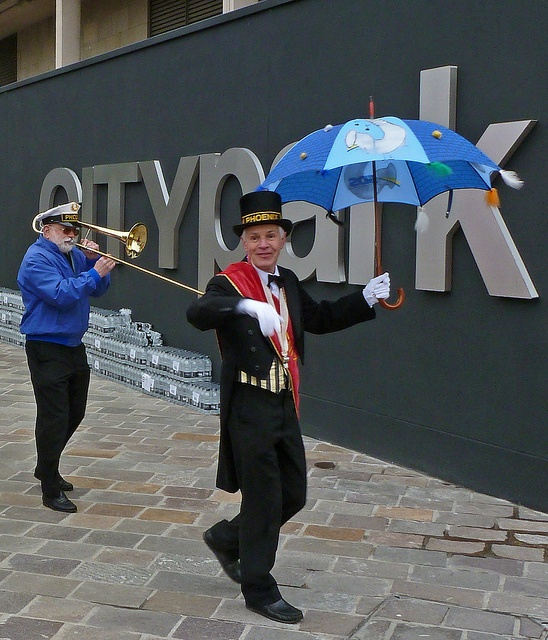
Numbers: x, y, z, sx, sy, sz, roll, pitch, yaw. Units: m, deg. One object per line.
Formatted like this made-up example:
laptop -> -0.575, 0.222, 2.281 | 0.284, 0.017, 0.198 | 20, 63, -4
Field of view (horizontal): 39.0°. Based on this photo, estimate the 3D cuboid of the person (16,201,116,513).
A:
person -> -1.473, 0.195, 5.180 | 0.876, 1.751, 0.777 | 0, 2, 10

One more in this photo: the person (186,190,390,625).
person -> -0.016, 0.369, 3.501 | 0.619, 1.876, 0.783 | 7, 9, 40

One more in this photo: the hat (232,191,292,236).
hat -> -0.062, -0.481, 3.427 | 0.232, 0.194, 0.183 | 2, 13, 9

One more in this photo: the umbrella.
umbrella -> 0.508, -0.686, 3.756 | 1.246, 0.952, 1.267 | -2, 6, 19
